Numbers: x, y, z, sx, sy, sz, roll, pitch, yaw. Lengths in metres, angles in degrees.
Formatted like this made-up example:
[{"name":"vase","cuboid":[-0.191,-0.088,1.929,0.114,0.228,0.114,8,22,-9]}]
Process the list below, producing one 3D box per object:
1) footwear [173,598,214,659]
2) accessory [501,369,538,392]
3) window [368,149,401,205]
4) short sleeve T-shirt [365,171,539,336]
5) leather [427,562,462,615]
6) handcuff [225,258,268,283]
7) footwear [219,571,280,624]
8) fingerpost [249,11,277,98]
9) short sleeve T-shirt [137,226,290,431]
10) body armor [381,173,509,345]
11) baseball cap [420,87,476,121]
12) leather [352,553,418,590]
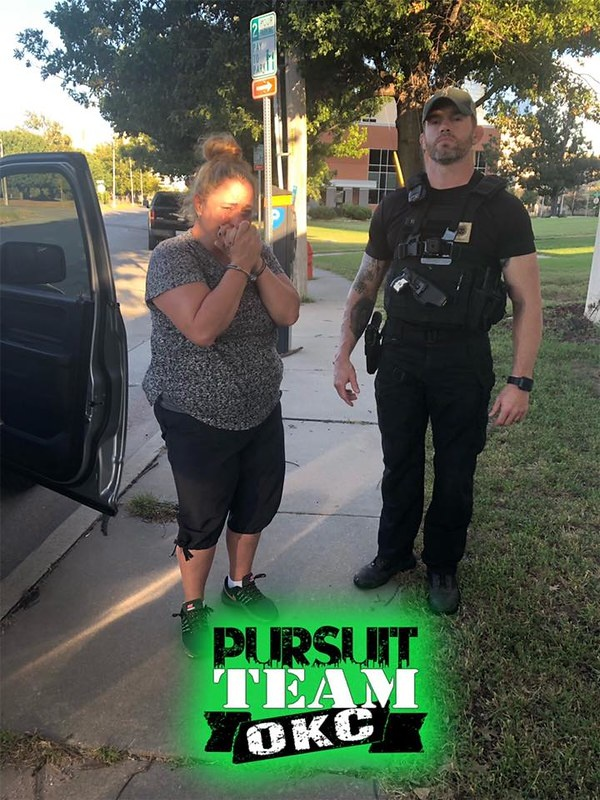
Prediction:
[{"name":"footwear","cuboid":[-0.365,0.782,2.066,0.119,0.076,0.183,-4,41,-14]},{"name":"accessory","cuboid":[0.796,-0.070,2.160,0.086,0.055,0.088,11,1,-8]},{"name":"window","cuboid":[8.259,-22.715,62.539,2.929,5.099,2.908,-1,5,-2]},{"name":"short sleeve T-shirt","cuboid":[0.496,-0.554,2.206,0.373,0.526,0.589,-15,25,-31]},{"name":"leather","cuboid":[0.560,0.742,2.318,0.077,0.080,0.208,-3,7,2]},{"name":"handcuff","cuboid":[-0.160,-0.426,1.870,0.099,0.026,0.087,29,41,17]},{"name":"footwear","cuboid":[-0.194,0.751,2.342,0.293,0.127,0.106,12,6,34]},{"name":"fingerpost","cuboid":[-0.385,-3.542,6.140,0.229,0.806,0.720,-7,22,-14]},{"name":"short sleeve T-shirt","cuboid":[-0.275,-0.213,1.941,0.495,0.632,0.338,-7,22,-14]},{"name":"body armor","cuboid":[0.518,-0.498,2.112,0.533,0.625,0.382,12,17,28]},{"name":"baseball cap","cuboid":[0.523,-1.030,2.077,0.180,0.106,0.144,3,21,11]},{"name":"leather","cuboid":[0.378,0.684,2.553,0.298,0.169,0.106,-2,26,-20]}]
